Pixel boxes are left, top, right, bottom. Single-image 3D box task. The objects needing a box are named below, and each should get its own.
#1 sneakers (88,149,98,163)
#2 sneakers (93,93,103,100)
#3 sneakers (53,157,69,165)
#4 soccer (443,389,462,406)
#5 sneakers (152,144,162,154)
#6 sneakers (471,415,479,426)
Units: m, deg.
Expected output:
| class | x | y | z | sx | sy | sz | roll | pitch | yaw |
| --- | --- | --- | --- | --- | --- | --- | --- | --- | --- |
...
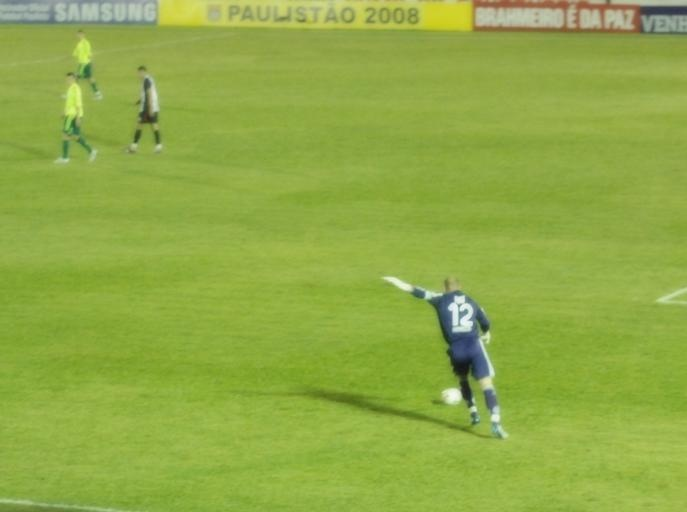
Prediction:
| class | x | y | z | sx | sy | sz | roll | pitch | yaw |
| --- | --- | --- | --- | --- | --- | --- | --- | --- | --- |
| sneakers | -7.182 | -2.876 | 45.298 | 0.193 | 0.445 | 0.163 | -6 | 23 | -16 |
| sneakers | -8.009 | -5.222 | 51.549 | 0.141 | 0.222 | 0.326 | -7 | 20 | -15 |
| sneakers | -8.109 | -2.728 | 45.309 | 0.384 | 0.183 | 0.205 | 3 | 13 | 5 |
| soccer | 2.466 | 3.194 | 35.862 | 0.309 | 0.319 | 0.404 | 4 | 3 | -9 |
| sneakers | -5.416 | -3.166 | 46.008 | 0.298 | 0.288 | 0.210 | 1 | 31 | 1 |
| sneakers | 2.924 | 3.641 | 35.056 | 0.138 | 0.240 | 0.191 | -13 | 21 | -35 |
